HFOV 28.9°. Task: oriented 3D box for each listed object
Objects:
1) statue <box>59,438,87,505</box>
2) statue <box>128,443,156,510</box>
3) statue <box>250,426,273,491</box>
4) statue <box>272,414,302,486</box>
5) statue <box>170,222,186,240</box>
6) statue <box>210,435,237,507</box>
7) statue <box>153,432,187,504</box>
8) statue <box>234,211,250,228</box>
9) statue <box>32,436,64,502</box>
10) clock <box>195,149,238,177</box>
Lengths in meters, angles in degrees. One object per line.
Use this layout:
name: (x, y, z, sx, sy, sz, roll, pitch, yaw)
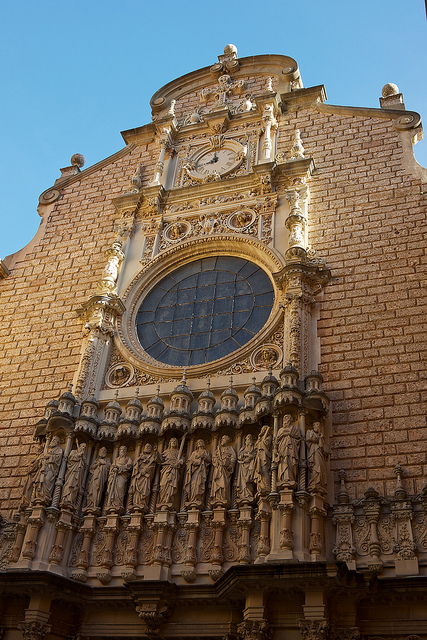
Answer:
statue: (-2.385, 2.604, 14.338, 0.291, 1.247, 0.306, -15, -41, 33)
statue: (-1.169, 2.603, 13.875, 0.385, 1.224, 0.210, 8, -34, 3)
statue: (0.793, 2.153, 13.000, 0.163, 1.111, 0.322, 31, -39, -28)
statue: (1.112, 2.055, 12.697, 0.429, 0.996, 0.220, 5, -34, 8)
statue: (-0.769, -1.945, 18.253, 0.426, 0.349, 0.120, -11, -27, 23)
statue: (0.155, 2.406, 13.443, 0.376, 1.274, 0.230, -14, -40, 31)
statue: (-0.775, 2.454, 13.818, 0.491, 1.312, 0.195, -2, -36, 18)
statue: (0.602, -2.118, 17.641, 0.304, 0.347, 0.127, -18, -22, 23)
statue: (-2.837, 2.620, 14.196, 0.382, 1.034, 0.285, 15, -34, -8)
clock: (0.101, -3.639, 19.372, 1.254, 1.038, 0.223, -4, -49, 14)
